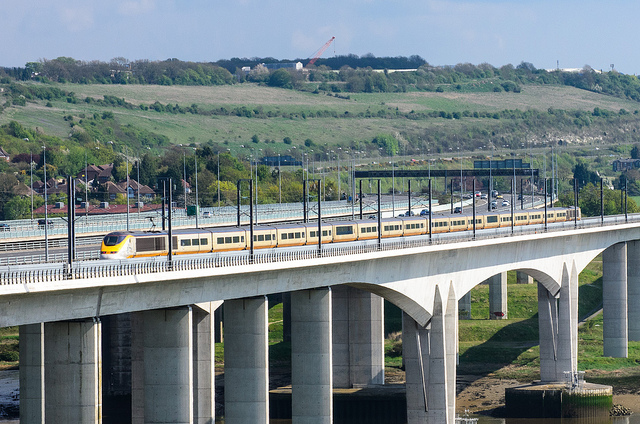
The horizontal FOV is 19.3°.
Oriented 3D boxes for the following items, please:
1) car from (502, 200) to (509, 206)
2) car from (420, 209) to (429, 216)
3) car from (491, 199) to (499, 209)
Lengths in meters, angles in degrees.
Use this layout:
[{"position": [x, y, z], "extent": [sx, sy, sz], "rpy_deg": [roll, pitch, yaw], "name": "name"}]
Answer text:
[{"position": [34.399, -2.148, 351.471], "extent": [0.882, 1.360, 3.337], "rpy_deg": [4, 9, 10], "name": "car"}, {"position": [17.613, -0.658, 317.983], "extent": [1.025, 0.779, 1.743], "rpy_deg": [2, 7, 6], "name": "car"}, {"position": [31.352, -1.823, 340.507], "extent": [1.240, 1.223, 3.830], "rpy_deg": [3, 8, 8], "name": "car"}]
